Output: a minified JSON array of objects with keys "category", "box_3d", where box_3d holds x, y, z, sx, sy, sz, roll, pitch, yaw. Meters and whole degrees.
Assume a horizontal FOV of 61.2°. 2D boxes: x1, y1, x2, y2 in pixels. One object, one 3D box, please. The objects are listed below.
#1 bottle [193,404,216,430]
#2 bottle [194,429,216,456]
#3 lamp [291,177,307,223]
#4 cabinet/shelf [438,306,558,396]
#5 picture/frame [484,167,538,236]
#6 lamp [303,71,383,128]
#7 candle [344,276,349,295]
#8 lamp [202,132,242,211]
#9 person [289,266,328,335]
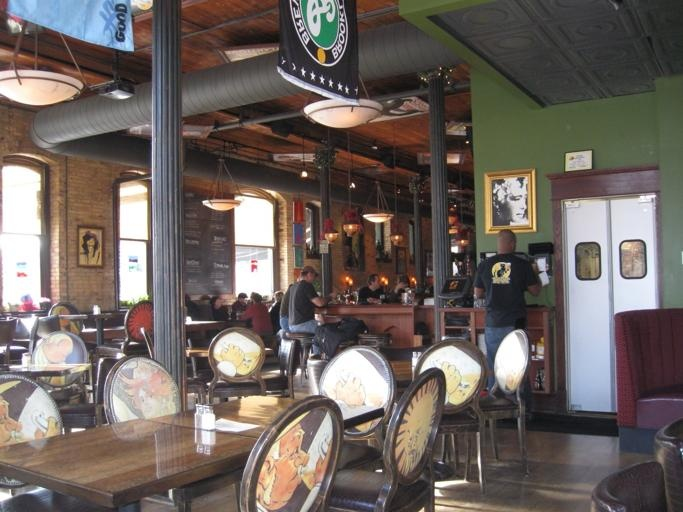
[{"category":"bottle","box_3d":[-0.704,0.828,2.960,0.056,0.141,0.158,-2,2,-44]},{"category":"bottle","box_3d":[-0.650,0.890,2.752,0.081,0.078,0.030,1,2,33]},{"category":"lamp","box_3d":[-1.292,-1.406,17.246,0.430,0.716,0.358,8,5,-12]},{"category":"cabinet/shelf","box_3d":[1.599,0.929,5.606,1.075,1.037,0.323,-2,-6,25]},{"category":"picture/frame","box_3d":[2.182,-0.691,7.366,0.894,1.115,0.088,-1,-3,30]},{"category":"lamp","box_3d":[-0.005,-1.783,7.135,0.752,0.185,0.771,-2,-2,42]},{"category":"candle","box_3d":[0.168,0.886,19.234,0.150,0.333,0.341,9,5,-1]},{"category":"lamp","box_3d":[-2.773,-1.793,13.505,0.901,1.430,0.913,0,1,-22]},{"category":"person","box_3d":[-0.517,0.816,9.586,0.693,1.290,0.594,-1,4,-30]}]
